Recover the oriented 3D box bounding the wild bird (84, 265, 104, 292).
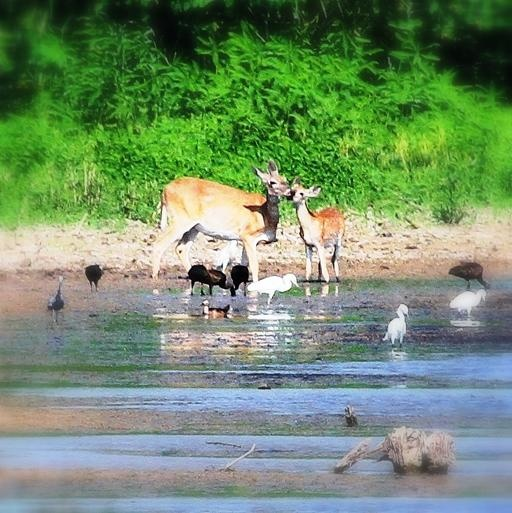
[{"bbox_3d":[-2.392,0.277,17.151,0.217,0.368,0.796,0,9,-9],"label":"wild bird"}]

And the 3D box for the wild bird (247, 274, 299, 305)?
[{"bbox_3d":[0.204,0.444,15.984,0.650,0.407,0.393,2,8,2],"label":"wild bird"}]

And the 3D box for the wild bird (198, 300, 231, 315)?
[{"bbox_3d":[-0.507,0.649,14.798,0.362,0.191,0.529,2,9,-2],"label":"wild bird"}]

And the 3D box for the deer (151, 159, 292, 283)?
[{"bbox_3d":[-0.577,-0.561,17.831,1.967,1.860,1.237,2,8,-1],"label":"deer"}]

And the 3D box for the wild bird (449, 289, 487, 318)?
[{"bbox_3d":[2.746,0.603,15.359,0.444,0.439,1.206,3,9,10],"label":"wild bird"}]

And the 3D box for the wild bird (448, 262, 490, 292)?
[{"bbox_3d":[3.164,0.284,17.631,0.651,0.451,0.312,2,-6,-1],"label":"wild bird"}]

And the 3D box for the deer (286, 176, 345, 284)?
[{"bbox_3d":[0.924,-0.457,18.292,0.853,1.599,1.902,2,8,4],"label":"deer"}]

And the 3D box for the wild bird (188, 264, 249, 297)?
[{"bbox_3d":[-0.552,0.336,16.820,0.895,0.446,0.703,0,9,-14],"label":"wild bird"}]
